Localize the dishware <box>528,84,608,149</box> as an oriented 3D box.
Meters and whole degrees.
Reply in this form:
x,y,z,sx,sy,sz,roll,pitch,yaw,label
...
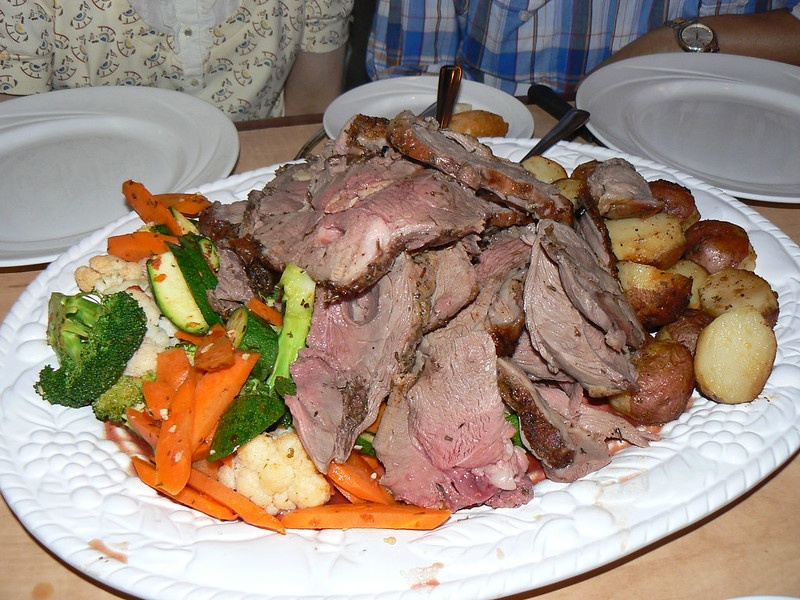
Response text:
x,y,z,sx,sy,sz,roll,pitch,yaw,label
1.057,-1.136,4.398,0.193,0.153,0.703,22,21,-51,dishware

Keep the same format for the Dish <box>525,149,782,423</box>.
x,y,z,sx,sy,sz,roll,pitch,yaw,label
1.329,-0.121,3.457,0.979,0.408,1.260,-16,65,-26,Dish
